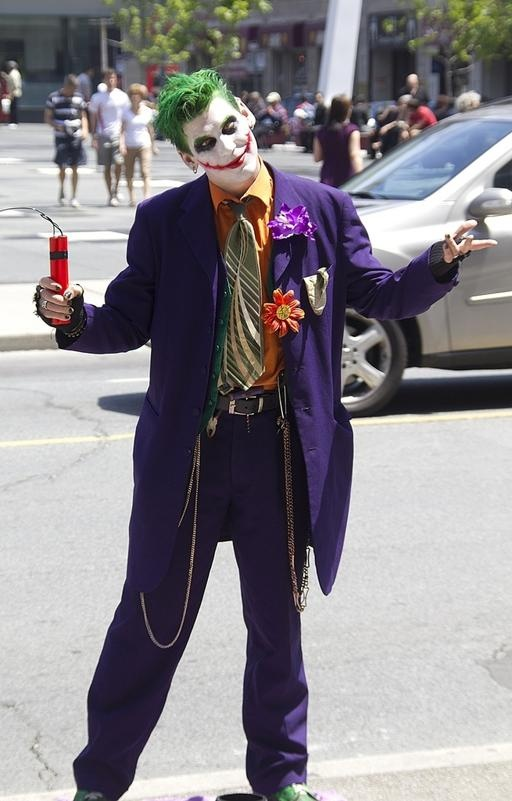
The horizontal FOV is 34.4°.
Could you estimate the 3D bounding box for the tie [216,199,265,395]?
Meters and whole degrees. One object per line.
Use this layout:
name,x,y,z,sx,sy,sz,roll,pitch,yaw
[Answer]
tie,-0.033,-0.187,1.661,0.086,0.339,0.115,0,12,-1

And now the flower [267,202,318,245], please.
flower,0.079,-0.365,1.701,0.071,0.073,0.137,12,16,43

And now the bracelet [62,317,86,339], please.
bracelet,-0.375,-0.148,1.689,0.036,0.029,0.045,1,-13,-1

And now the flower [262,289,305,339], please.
flower,0.055,-0.177,1.667,0.084,0.094,0.070,1,12,-1

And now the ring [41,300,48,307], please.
ring,-0.427,-0.195,1.663,0.016,0.015,0.006,3,-2,38
